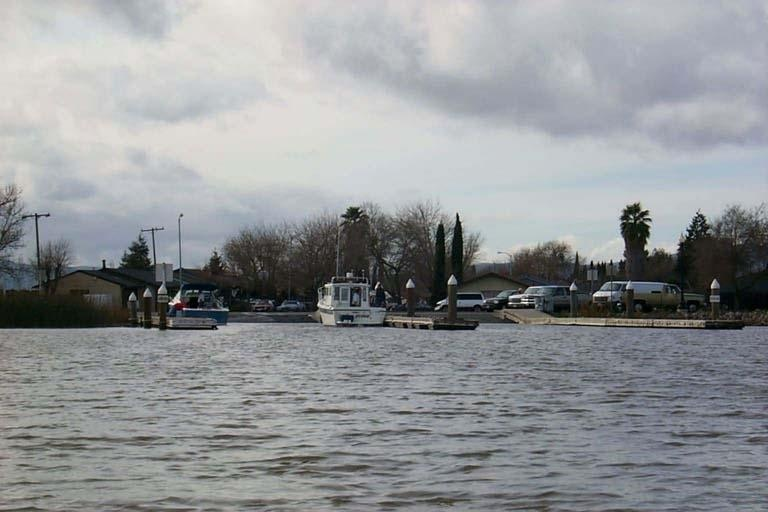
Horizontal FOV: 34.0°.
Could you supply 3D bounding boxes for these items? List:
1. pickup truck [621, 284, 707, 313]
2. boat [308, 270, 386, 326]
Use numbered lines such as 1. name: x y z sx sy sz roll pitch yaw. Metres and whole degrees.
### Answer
1. pickup truck: 17.148 2.460 78.360 6.864 2.425 3.185 0 -1 2
2. boat: -2.364 2.540 79.410 3.393 3.011 7.569 0 2 -9
